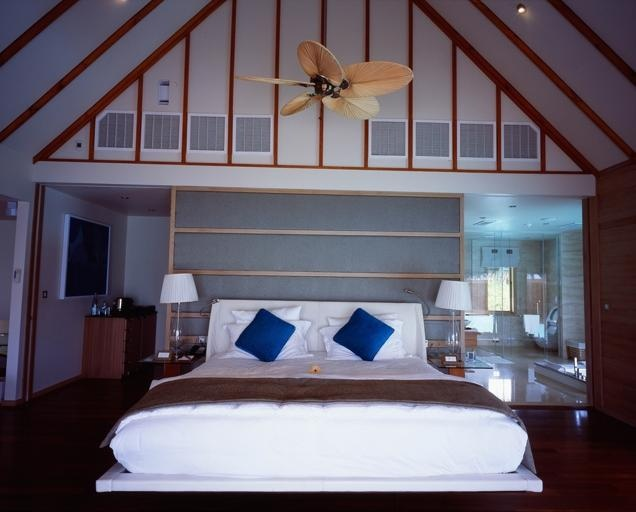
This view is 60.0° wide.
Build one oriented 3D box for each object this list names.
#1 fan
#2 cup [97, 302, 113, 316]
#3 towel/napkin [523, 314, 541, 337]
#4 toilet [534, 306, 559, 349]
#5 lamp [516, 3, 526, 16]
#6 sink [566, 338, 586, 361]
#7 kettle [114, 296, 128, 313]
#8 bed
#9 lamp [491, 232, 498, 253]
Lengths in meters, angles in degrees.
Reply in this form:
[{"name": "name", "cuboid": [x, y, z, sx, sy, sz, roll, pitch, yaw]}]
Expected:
[{"name": "fan", "cuboid": [0.188, -1.622, 5.151, 1.239, 0.571, 0.940, 0, 7, -5]}, {"name": "cup", "cuboid": [-3.257, 0.815, 8.388, 0.202, 0.250, 0.212, 0, -7, 0]}, {"name": "towel/napkin", "cuboid": [3.636, 1.184, 9.346, 0.361, 0.503, 0.040, -1, -1, 42]}, {"name": "toilet", "cuboid": [3.869, 1.212, 9.232, 0.420, 0.677, 0.412, 4, -5, -33]}, {"name": "lamp", "cuboid": [2.307, -2.799, 6.256, 0.101, 0.109, 0.113, -3, 7, -25]}, {"name": "sink", "cuboid": [4.099, 1.498, 8.753, 0.416, 0.326, 0.628, -1, -9, 15]}, {"name": "kettle", "cuboid": [-2.972, 0.748, 8.285, 0.184, 0.204, 0.185, 1, -10, -17]}, {"name": "bed", "cuboid": [0.059, 1.384, 6.013, 4.192, 1.379, 2.025, 1, 7, 0]}, {"name": "lamp", "cuboid": [3.069, -0.209, 9.563, 0.104, 0.330, 0.177, 2, 7, 18]}]
